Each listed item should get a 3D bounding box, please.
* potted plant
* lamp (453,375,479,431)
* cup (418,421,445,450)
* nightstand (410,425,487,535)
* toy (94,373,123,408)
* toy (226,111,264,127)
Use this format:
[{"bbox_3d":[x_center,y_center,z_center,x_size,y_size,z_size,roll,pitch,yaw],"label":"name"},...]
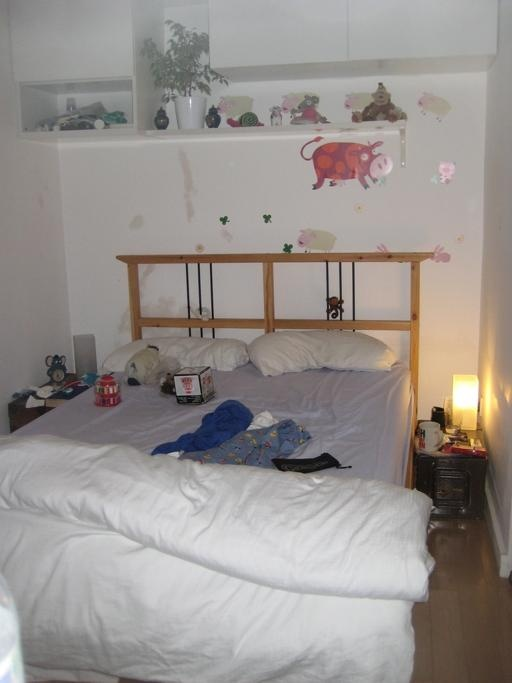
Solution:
[{"bbox_3d":[-0.372,-1.339,3.023,0.334,0.419,0.366,3,8,5],"label":"potted plant"},{"bbox_3d":[1.001,0.292,2.688,0.143,0.251,0.089,11,13,20],"label":"lamp"},{"bbox_3d":[0.780,0.423,2.559,0.086,0.111,0.132,-2,19,1],"label":"cup"},{"bbox_3d":[0.854,0.591,2.478,0.341,0.462,0.310,1,-3,11],"label":"nightstand"},{"bbox_3d":[-0.643,0.223,2.531,0.136,0.132,0.135,0,3,-5],"label":"toy"},{"bbox_3d":[-0.059,-1.171,3.019,0.171,0.081,0.111,18,37,31],"label":"toy"}]
